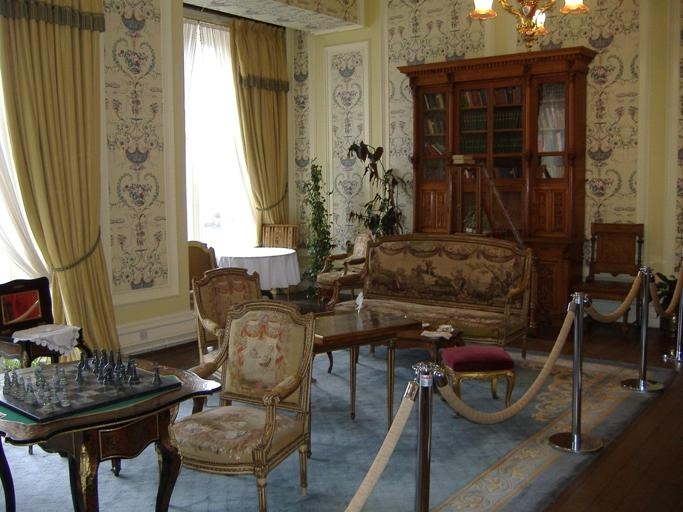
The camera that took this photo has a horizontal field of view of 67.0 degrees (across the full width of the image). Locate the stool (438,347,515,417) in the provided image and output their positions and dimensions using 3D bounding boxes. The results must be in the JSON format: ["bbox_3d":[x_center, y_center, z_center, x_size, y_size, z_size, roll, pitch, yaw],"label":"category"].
[{"bbox_3d":[1.121,1.038,4.301,0.541,0.477,0.542,0,2,2],"label":"stool"}]

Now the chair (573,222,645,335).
[{"bbox_3d":[3.418,0.056,6.538,0.649,0.910,0.750,4,9,30],"label":"chair"}]

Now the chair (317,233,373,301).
[{"bbox_3d":[0.018,0.199,7.517,0.780,1.081,0.714,-3,9,-13],"label":"chair"}]

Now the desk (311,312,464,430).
[{"bbox_3d":[0.230,0.878,4.029,0.834,0.587,0.823,-14,-10,38],"label":"desk"}]

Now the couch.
[{"bbox_3d":[0.973,0.423,5.710,2.090,1.110,0.910,4,16,38],"label":"couch"}]
